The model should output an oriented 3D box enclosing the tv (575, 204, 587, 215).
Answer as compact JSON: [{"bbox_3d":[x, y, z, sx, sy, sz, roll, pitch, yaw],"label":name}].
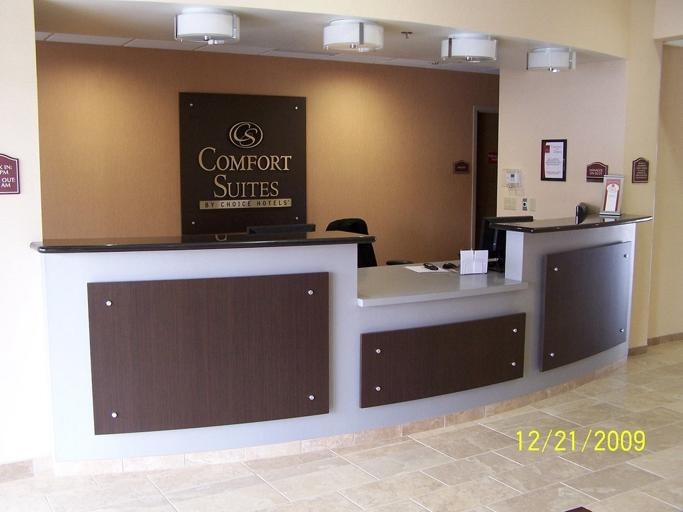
[{"bbox_3d":[2.647,-0.516,5.999,0.090,0.111,0.326,-6,3,25],"label":"tv"}]

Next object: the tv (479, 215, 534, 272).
[{"bbox_3d":[1.555,-0.128,5.166,0.509,0.459,0.310,-8,13,-38],"label":"tv"}]

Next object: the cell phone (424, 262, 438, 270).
[{"bbox_3d":[0.834,0.100,5.072,0.125,0.037,0.154,1,10,5],"label":"cell phone"}]

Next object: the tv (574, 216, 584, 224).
[{"bbox_3d":[2.292,-0.340,5.222,0.087,0.012,0.646,5,11,24],"label":"tv"}]

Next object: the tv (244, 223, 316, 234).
[{"bbox_3d":[-0.527,-0.217,4.596,0.499,0.048,0.578,2,10,11],"label":"tv"}]

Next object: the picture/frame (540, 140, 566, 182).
[{"bbox_3d":[2.511,-1.128,6.412,0.061,0.588,0.454,-8,14,-35],"label":"picture/frame"}]
